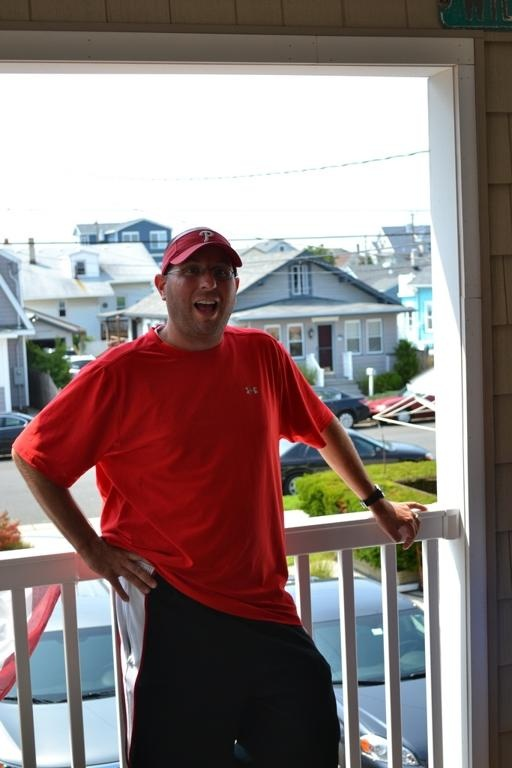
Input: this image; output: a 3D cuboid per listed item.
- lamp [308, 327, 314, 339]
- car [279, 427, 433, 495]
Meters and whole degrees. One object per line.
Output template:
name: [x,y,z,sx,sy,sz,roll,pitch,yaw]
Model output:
lamp: [0.684,-0.635,9.856,0.097,0.117,0.097,-2,12,-5]
car: [1.168,0.820,9.686,2.059,0.587,0.803,-5,5,-5]
